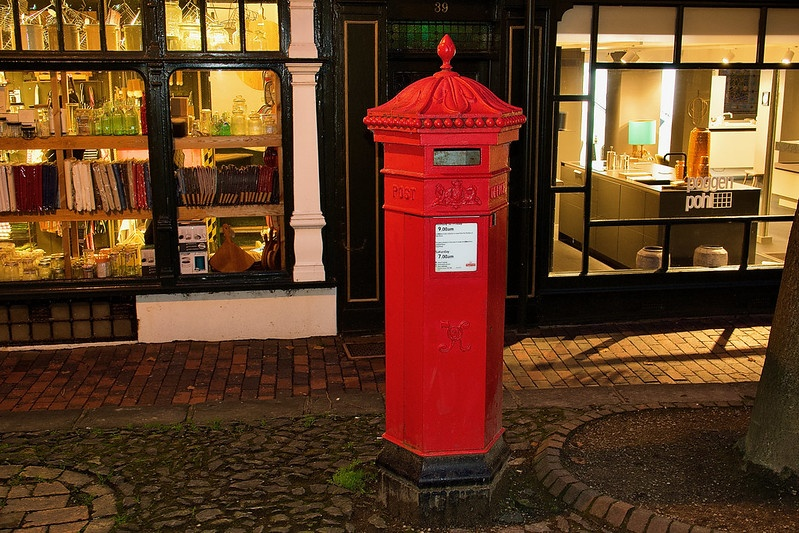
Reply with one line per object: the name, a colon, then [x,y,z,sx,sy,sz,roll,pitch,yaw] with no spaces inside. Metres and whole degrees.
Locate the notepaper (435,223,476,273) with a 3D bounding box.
notepaper: [0.401,-0.153,4.920,0.367,0.394,0.042,-2,15,-5]

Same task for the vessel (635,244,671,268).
vessel: [3.374,-0.132,8.969,0.328,0.299,0.320,0,3,-14]
